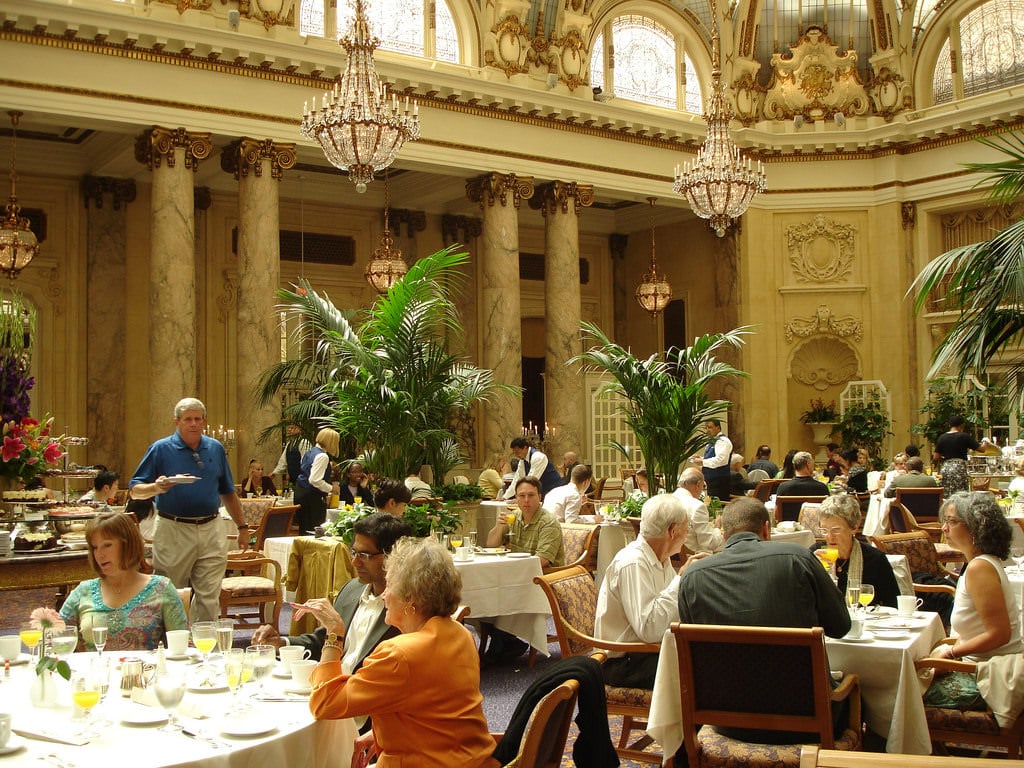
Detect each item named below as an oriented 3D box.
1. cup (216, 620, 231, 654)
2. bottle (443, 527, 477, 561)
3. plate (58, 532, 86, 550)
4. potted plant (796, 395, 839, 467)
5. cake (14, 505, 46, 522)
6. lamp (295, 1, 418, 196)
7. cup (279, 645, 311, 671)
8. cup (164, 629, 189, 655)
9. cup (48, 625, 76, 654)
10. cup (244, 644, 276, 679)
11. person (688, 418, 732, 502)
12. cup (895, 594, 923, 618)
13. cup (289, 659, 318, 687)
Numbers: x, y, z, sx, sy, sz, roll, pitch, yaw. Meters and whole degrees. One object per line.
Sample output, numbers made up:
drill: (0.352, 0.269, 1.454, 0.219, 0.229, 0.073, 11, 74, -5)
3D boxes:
cup: (-1.242, 1.090, 4.053, 0.060, 0.113, 0.318, 0, -6, -18)
bottle: (-0.425, 1.352, 7.790, 0.297, 0.321, 0.418, -1, -8, -1)
plate: (-3.161, 1.127, 6.743, 0.207, 0.089, 0.223, 0, -1, -3)
potted plant: (6.172, 0.854, 18.571, 0.995, 1.268, 1.070, 0, -16, 3)
cake: (-3.528, 0.932, 6.809, 0.174, 0.080, 0.136, 0, -2, -1)
lamp: (-1.630, -3.163, 10.517, 1.015, 1.537, 1.604, 1, -6, -28)
cup: (-0.950, 1.185, 4.070, 0.113, 0.115, 0.152, -3, -12, 11)
cup: (-1.533, 1.184, 4.308, 0.095, 0.109, 0.115, 0, -16, -6)
cup: (-1.866, 1.058, 3.907, 0.097, 0.127, 0.106, 0, -8, 0)
cup: (-1.034, 1.146, 3.879, 0.108, 0.141, 0.119, 0, -8, 0)
person: (2.860, 1.339, 13.285, 0.480, 1.705, 0.578, -1, 3, 2)
cup: (2.287, 1.270, 5.408, 0.093, 0.093, 0.119, 0, -11, -3)
cup: (-0.884, 1.216, 3.963, 0.080, 0.092, 0.113, 1, -5, -13)
